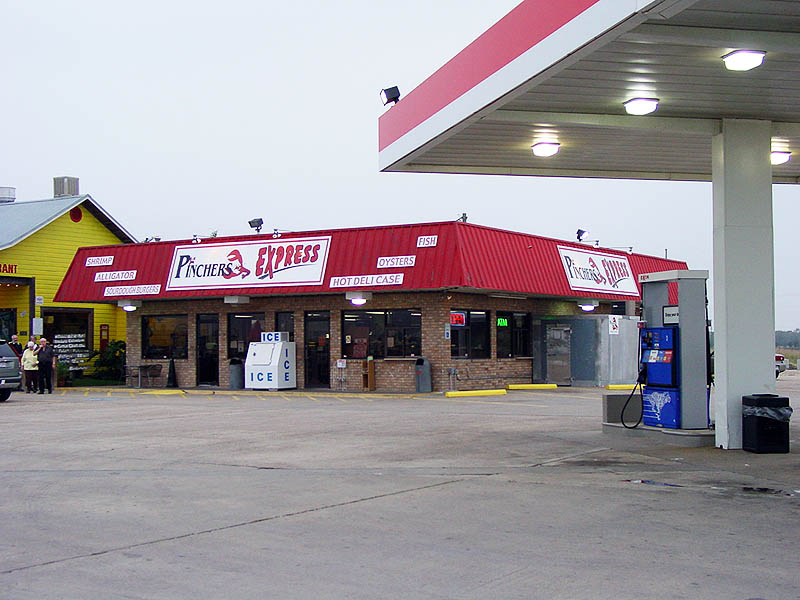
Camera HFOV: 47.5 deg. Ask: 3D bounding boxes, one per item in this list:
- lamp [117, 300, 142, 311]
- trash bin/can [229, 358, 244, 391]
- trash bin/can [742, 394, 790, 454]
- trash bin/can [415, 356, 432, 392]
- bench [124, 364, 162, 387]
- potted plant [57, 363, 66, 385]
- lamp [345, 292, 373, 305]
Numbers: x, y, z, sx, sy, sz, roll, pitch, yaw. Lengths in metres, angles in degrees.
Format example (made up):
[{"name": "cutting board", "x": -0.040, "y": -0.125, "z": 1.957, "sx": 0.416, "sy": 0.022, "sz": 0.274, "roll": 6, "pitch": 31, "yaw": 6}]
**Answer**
[{"name": "lamp", "x": -12.002, "y": 0.221, "z": 40.033, "sx": 0.779, "sy": 0.647, "sz": 0.644, "roll": 0, "pitch": -3, "yaw": 0}, {"name": "trash bin/can", "x": -6.823, "y": 3.061, "z": 37.832, "sx": 0.618, "sy": 1.254, "sz": 0.727, "roll": 1, "pitch": -7, "yaw": -10}, {"name": "trash bin/can", "x": 6.604, "y": 2.224, "z": 16.392, "sx": 0.837, "sy": 1.054, "sz": 0.542, "roll": -3, "pitch": -7, "yaw": 18}, {"name": "trash bin/can", "x": 0.847, "y": 2.785, "z": 33.843, "sx": 0.549, "sy": 1.315, "sz": 0.368, "roll": 0, "pitch": -7, "yaw": -5}, {"name": "bench", "x": -11.332, "y": 3.343, "z": 40.288, "sx": 2.139, "sy": 0.932, "sz": 1.278, "roll": 2, "pitch": -3, "yaw": -6}, {"name": "potted plant", "x": -15.112, "y": 3.340, "z": 40.517, "sx": 0.498, "sy": 1.016, "sz": 1.563, "roll": 2, "pitch": -7, "yaw": -19}, {"name": "lamp", "x": -1.685, "y": -0.082, "z": 34.956, "sx": 0.696, "sy": 0.353, "sz": 0.649, "roll": -1, "pitch": 0, "yaw": 22}]
